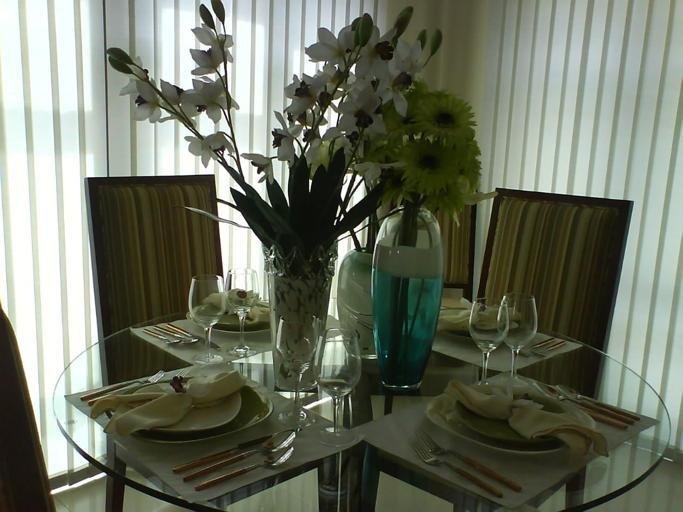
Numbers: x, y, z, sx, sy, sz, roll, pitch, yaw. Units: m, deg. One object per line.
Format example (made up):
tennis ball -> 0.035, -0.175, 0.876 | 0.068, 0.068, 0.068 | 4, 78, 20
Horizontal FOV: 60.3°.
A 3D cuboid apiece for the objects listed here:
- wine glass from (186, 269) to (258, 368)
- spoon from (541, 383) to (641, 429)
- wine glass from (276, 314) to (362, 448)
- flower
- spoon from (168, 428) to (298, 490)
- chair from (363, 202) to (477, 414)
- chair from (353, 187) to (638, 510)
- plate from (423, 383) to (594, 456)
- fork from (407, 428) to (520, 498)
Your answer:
wine glass -> -0.337, 0.183, 1.646 | 0.206, 0.269, 0.105 | -2, 6, -34
spoon -> 0.628, 0.362, 1.441 | 0.079, 0.039, 0.227 | -3, 11, -27
wine glass -> -0.060, 0.291, 1.349 | 0.095, 0.251, 0.228 | 1, 1, -40
flower -> -0.252, -0.212, 1.784 | 0.937, 1.232, 0.948 | -3, 6, -20
spoon -> -0.208, 0.406, 1.214 | 0.319, 0.043, 0.082 | -13, 23, -43
chair -> 0.177, 0.118, 1.585 | 0.174, 0.484, 0.169 | 1, 14, -4
chair -> 0.730, 0.462, 2.364 | 0.589, 1.259, 0.681 | 9, 27, 26
plate -> 0.384, 0.361, 1.285 | 0.204, 0.076, 0.202 | 1, 4, 30
fork -> 0.238, 0.427, 1.214 | 0.074, 0.048, 0.283 | -17, 28, -38
